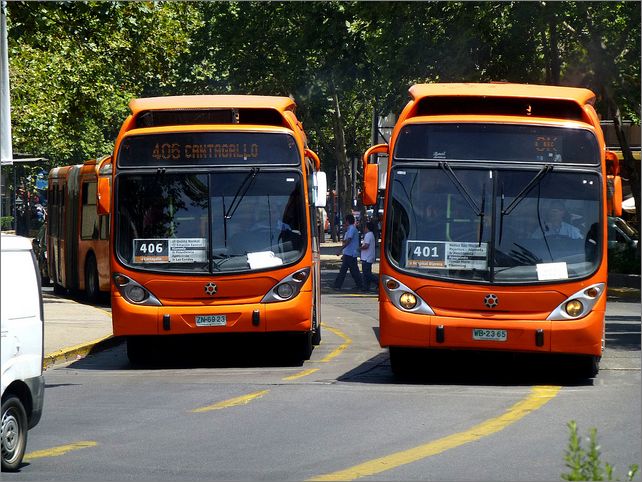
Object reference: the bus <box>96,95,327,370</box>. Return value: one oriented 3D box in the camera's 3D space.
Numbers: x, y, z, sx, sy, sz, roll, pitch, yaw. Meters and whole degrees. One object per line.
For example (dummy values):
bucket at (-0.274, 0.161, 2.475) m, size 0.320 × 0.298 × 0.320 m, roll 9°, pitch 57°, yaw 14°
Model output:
bus at (-2.032, 0.177, 13.990) m, size 2.934 × 4.281 × 7.436 m, roll -1°, pitch -8°, yaw -7°

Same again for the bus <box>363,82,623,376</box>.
bus at (2.553, -0.003, 11.151) m, size 2.465 × 3.349 × 4.387 m, roll 0°, pitch -6°, yaw 8°
